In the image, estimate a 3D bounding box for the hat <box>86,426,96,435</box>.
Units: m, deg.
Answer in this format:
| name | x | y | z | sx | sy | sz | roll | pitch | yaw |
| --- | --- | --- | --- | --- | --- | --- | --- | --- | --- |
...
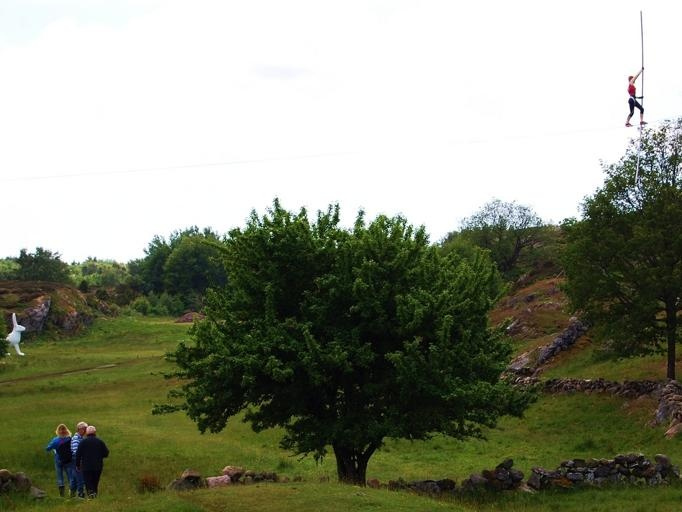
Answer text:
| name | x | y | z | sx | sy | sz | roll | pitch | yaw |
| --- | --- | --- | --- | --- | --- | --- | --- | --- | --- |
| hat | -15.859 | 10.998 | 81.256 | 0.578 | 0.619 | 0.696 | 2 | -4 | -5 |
